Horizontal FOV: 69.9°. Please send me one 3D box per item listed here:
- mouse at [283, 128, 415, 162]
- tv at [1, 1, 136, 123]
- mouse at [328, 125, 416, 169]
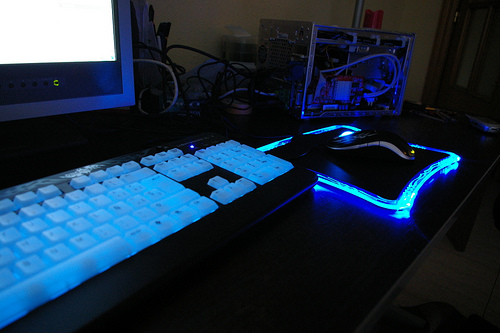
[{"bbox_3d":[0.238,-0.038,0.834,0.256,0.052,0.080,3,-2,14],"label":"mouse"},{"bbox_3d":[-0.359,-0.210,0.696,0.247,0.244,0.019,-11,24,-32],"label":"tv"},{"bbox_3d":[0.265,-0.048,0.827,0.199,0.067,0.113,11,31,26],"label":"mouse"}]
